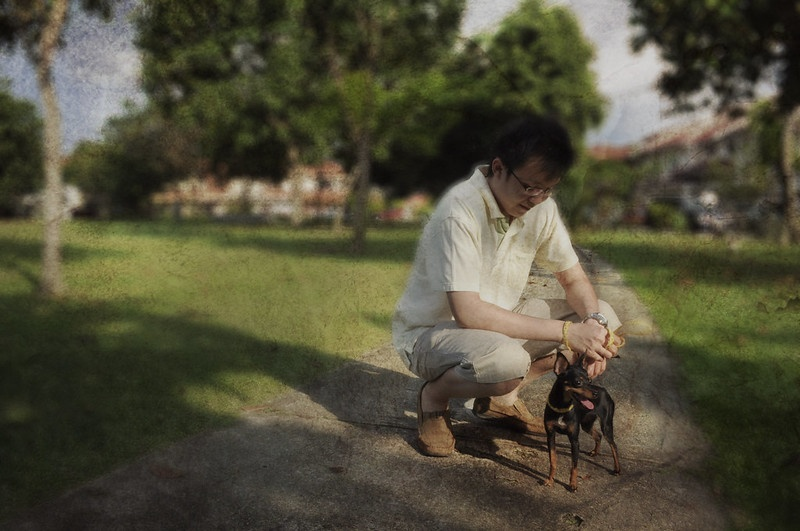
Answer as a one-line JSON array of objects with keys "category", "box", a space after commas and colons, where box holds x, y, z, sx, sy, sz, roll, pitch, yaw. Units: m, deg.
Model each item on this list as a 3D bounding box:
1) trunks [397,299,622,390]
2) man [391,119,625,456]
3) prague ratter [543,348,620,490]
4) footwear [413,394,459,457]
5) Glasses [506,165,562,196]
[{"category": "trunks", "box": [0.472, 0.394, 3.621, 0.818, 0.292, 0.858, -12, 23, -32]}, {"category": "man", "box": [0.496, 0.158, 3.459, 1.086, 1.683, 1.031, 6, 12, 27]}, {"category": "prague ratter", "box": [0.939, 0.766, 3.423, 0.244, 0.648, 0.926, 10, 2, 34]}, {"category": "footwear", "box": [0.177, 0.821, 3.440, 0.130, 0.263, 0.100, -2, -21, 1]}, {"category": "Glasses", "box": [0.606, -0.387, 3.228, 0.044, 0.150, 0.144, -38, -23, 34]}]
